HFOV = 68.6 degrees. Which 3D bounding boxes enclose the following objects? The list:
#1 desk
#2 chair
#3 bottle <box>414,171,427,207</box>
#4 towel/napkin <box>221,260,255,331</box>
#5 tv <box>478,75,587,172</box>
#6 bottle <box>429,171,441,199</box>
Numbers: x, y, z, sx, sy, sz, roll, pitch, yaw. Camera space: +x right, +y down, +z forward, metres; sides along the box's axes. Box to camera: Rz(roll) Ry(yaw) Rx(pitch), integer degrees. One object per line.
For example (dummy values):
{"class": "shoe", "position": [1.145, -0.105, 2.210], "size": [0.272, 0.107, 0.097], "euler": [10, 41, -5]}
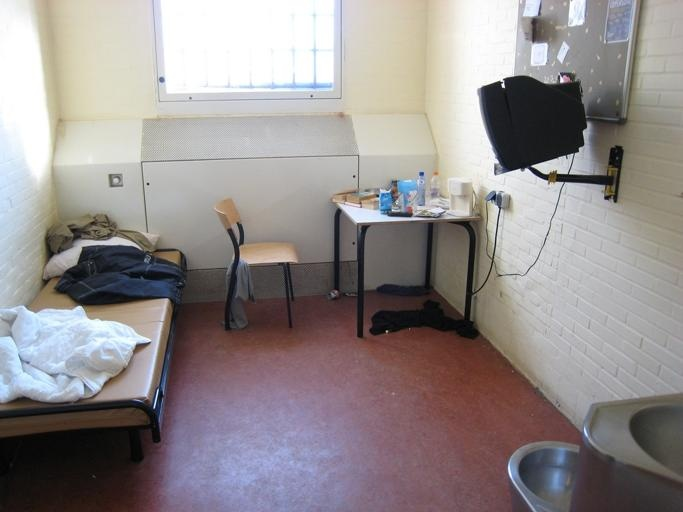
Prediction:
{"class": "desk", "position": [0.534, 0.152, 4.198], "size": [1.029, 0.993, 1.072], "euler": [-3, 18, -14]}
{"class": "chair", "position": [-0.566, -0.071, 4.370], "size": [0.856, 1.343, 0.926], "euler": [-2, 22, -5]}
{"class": "bottle", "position": [0.638, -0.544, 3.987], "size": [0.076, 0.249, 0.273], "euler": [1, 22, 9]}
{"class": "towel/napkin", "position": [-0.796, 0.282, 3.951], "size": [0.222, 0.588, 0.217], "euler": [6, 21, 16]}
{"class": "tv", "position": [1.018, -0.694, 2.708], "size": [0.480, 0.400, 0.503], "euler": [-18, 15, 7]}
{"class": "bottle", "position": [0.813, -0.618, 4.291], "size": [0.093, 0.236, 0.433], "euler": [1, 22, 10]}
